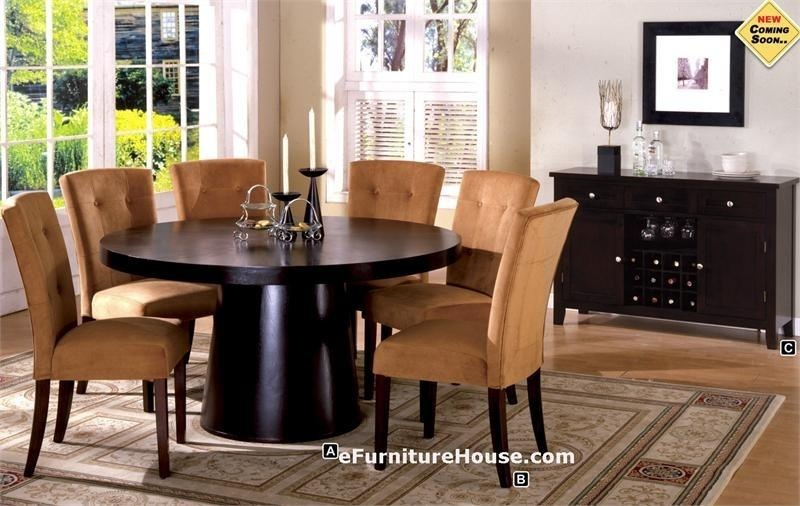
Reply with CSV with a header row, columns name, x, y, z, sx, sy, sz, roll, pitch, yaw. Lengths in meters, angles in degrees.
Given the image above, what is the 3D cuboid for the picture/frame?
name,x,y,z,sx,sy,sz,roll,pitch,yaw
picture/frame,2.205,-1.330,4.828,0.958,0.816,0.065,3,6,25

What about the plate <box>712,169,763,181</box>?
name,x,y,z,sx,sy,sz,roll,pitch,yaw
plate,2.412,-0.552,4.610,0.383,0.048,0.317,1,12,2

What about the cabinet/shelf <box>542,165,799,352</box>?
name,x,y,z,sx,sy,sz,roll,pitch,yaw
cabinet/shelf,1.958,0.027,4.551,1.491,0.861,0.474,2,4,32

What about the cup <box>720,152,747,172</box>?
name,x,y,z,sx,sy,sz,roll,pitch,yaw
cup,2.355,-0.637,4.596,0.151,0.103,0.169,6,13,34

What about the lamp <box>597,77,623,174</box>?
name,x,y,z,sx,sy,sz,roll,pitch,yaw
lamp,1.587,-0.957,4.946,0.209,0.685,0.508,4,14,16
